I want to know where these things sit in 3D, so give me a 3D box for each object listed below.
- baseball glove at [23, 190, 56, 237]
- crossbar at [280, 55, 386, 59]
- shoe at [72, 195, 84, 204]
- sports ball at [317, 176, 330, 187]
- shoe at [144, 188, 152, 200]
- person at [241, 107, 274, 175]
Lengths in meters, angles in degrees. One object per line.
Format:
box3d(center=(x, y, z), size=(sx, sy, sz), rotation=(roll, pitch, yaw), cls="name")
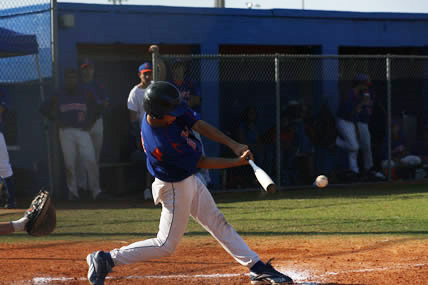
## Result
box3d(center=(-2.940, 1.215, 14.819), size=(0.533, 0.759, 0.279), rotation=(-2, 4, -15), cls="baseball glove")
box3d(center=(2.450, -1.822, 18.474), size=(2.260, 0.102, 0.845), rotation=(-2, 4, -14), cls="crossbar")
box3d(center=(-2.757, 1.160, 17.816), size=(0.229, 0.147, 0.439), rotation=(-2, 4, -10), cls="shoe")
box3d(center=(2.123, 0.772, 17.124), size=(0.193, 0.206, 0.239), rotation=(-1, 4, 5), cls="sports ball")
box3d(center=(-1.359, 1.077, 18.051), size=(0.139, 0.226, 0.056), rotation=(-8, -7, 7), cls="shoe")
box3d(center=(0.880, -0.064, 17.482), size=(0.214, 1.333, 0.360), rotation=(-23, 6, -5), cls="person")
